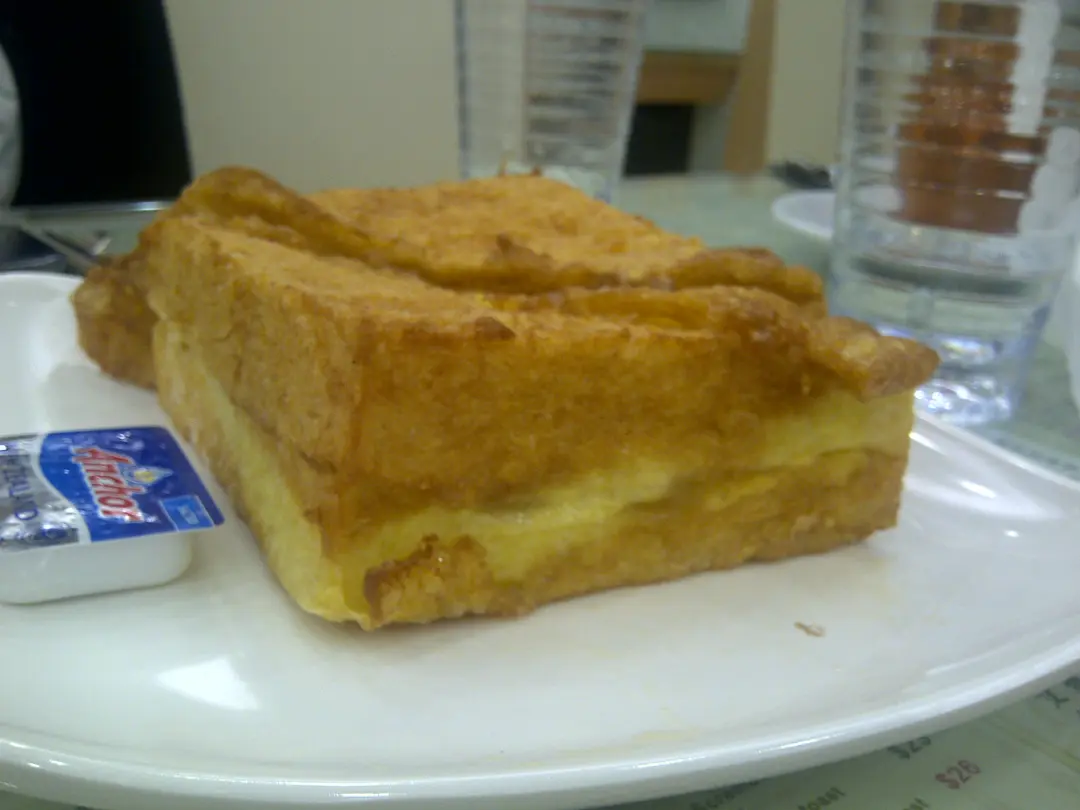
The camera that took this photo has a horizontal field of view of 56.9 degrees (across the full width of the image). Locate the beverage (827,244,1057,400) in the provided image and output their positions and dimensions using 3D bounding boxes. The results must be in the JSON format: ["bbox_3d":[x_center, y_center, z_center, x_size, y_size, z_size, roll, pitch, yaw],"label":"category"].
[{"bbox_3d":[0.221,-0.045,0.564,0.097,0.089,0.089,2,-8,4],"label":"beverage"}]
